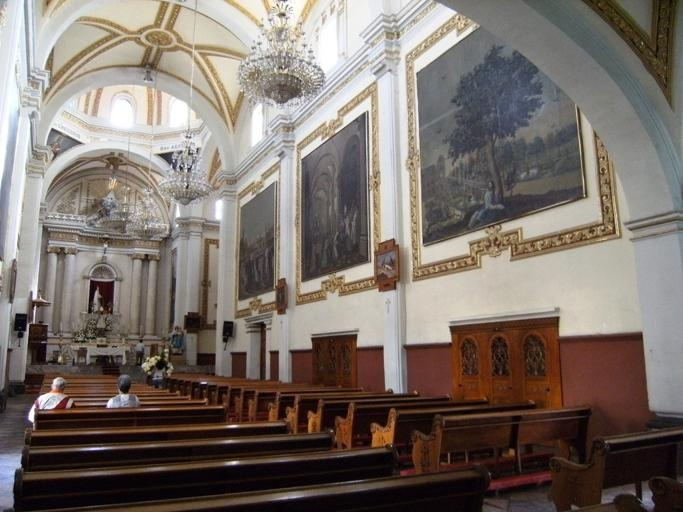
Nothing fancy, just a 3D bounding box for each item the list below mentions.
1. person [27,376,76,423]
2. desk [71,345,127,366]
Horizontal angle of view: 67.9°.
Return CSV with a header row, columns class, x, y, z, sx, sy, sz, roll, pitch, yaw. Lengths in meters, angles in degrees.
class,x,y,z,sx,sy,sz,roll,pitch,yaw
person,-3.673,1.905,6.502,0.415,0.780,0.508,9,-3,44
desk,-10.242,4.159,21.477,2.082,0.858,0.920,6,-12,-32
